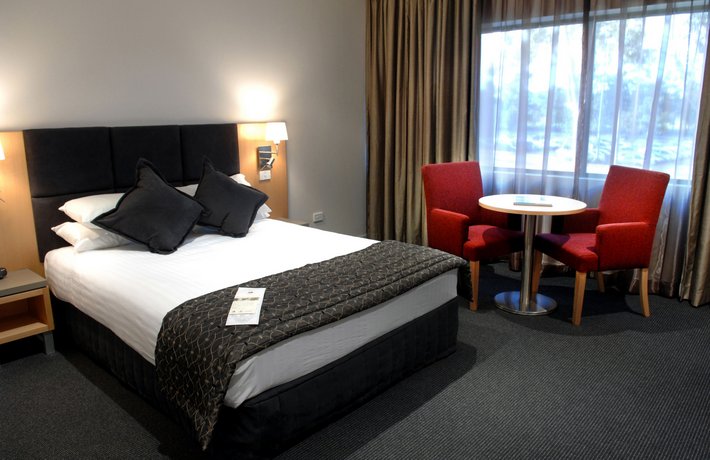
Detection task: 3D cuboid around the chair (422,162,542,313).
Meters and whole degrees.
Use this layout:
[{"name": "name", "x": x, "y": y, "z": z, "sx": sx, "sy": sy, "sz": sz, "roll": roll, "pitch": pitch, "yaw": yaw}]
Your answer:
[{"name": "chair", "x": 1.288, "y": -0.027, "z": 5.248, "sx": 0.956, "sy": 1.298, "sz": 1.004, "roll": -14, "pitch": 21, "yaw": -41}]

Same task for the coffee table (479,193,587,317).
[{"name": "coffee table", "x": 1.768, "y": 0.292, "z": 4.891, "sx": 0.963, "sy": 1.046, "sz": 0.979, "roll": -1, "pitch": 5, "yaw": 19}]

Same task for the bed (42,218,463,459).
[{"name": "bed", "x": -0.404, "y": 0.678, "z": 3.706, "sx": 1.979, "sy": 0.642, "sz": 2.093, "roll": 10, "pitch": 17, "yaw": 42}]

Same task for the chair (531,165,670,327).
[{"name": "chair", "x": 2.477, "y": 0.089, "z": 4.931, "sx": 1.026, "sy": 1.374, "sz": 1.029, "roll": -9, "pitch": 14, "yaw": -18}]
